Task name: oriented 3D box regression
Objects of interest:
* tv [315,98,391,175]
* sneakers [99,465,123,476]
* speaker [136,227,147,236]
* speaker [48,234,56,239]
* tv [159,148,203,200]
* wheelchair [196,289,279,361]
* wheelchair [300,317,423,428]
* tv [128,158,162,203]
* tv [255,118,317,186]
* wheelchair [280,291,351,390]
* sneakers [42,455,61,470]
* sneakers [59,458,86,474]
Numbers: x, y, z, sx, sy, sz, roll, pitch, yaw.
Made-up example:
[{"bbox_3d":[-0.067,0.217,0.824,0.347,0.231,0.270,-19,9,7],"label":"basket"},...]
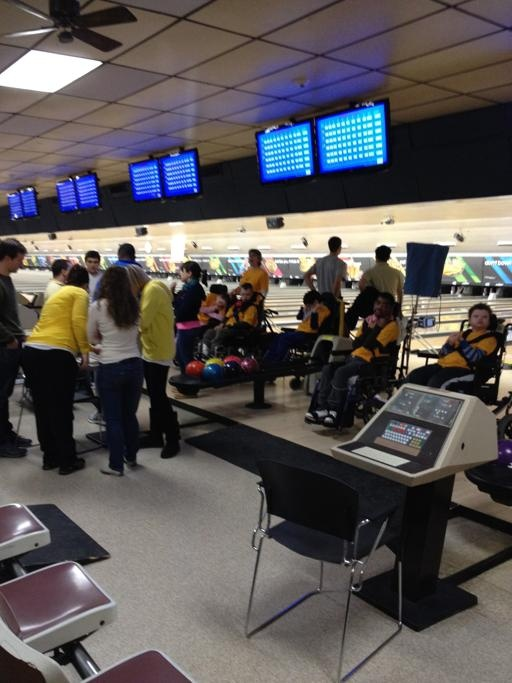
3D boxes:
[{"bbox_3d":[0.752,-1.563,3.781,0.685,0.465,0.077,5,21,45],"label":"tv"},{"bbox_3d":[-0.904,0.825,3.130,0.136,0.051,0.061,7,9,11],"label":"sneakers"},{"bbox_3d":[-2.270,-2.198,9.967,0.167,0.146,0.284,-4,9,-10],"label":"speaker"},{"bbox_3d":[-5.072,-2.631,12.438,0.102,0.161,0.184,-3,4,28],"label":"speaker"},{"bbox_3d":[-0.850,-1.880,5.606,0.743,0.606,0.105,4,17,44],"label":"tv"},{"bbox_3d":[-0.281,-0.184,5.643,0.760,1.056,0.647,10,14,-16],"label":"wheelchair"},{"bbox_3d":[0.815,0.222,4.174,0.809,0.886,0.572,2,5,-23],"label":"wheelchair"},{"bbox_3d":[-1.332,-1.978,6.051,0.757,0.639,0.078,9,20,43],"label":"tv"},{"bbox_3d":[0.274,-1.650,4.317,0.098,0.493,0.720,-18,13,-35],"label":"tv"},{"bbox_3d":[0.541,-0.040,5.213,0.713,0.673,0.912,8,59,1],"label":"wheelchair"},{"bbox_3d":[-1.332,0.787,3.301,0.072,0.077,0.186,2,6,-2],"label":"sneakers"},{"bbox_3d":[-1.160,0.801,3.205,0.068,0.064,0.167,13,20,31],"label":"sneakers"}]
